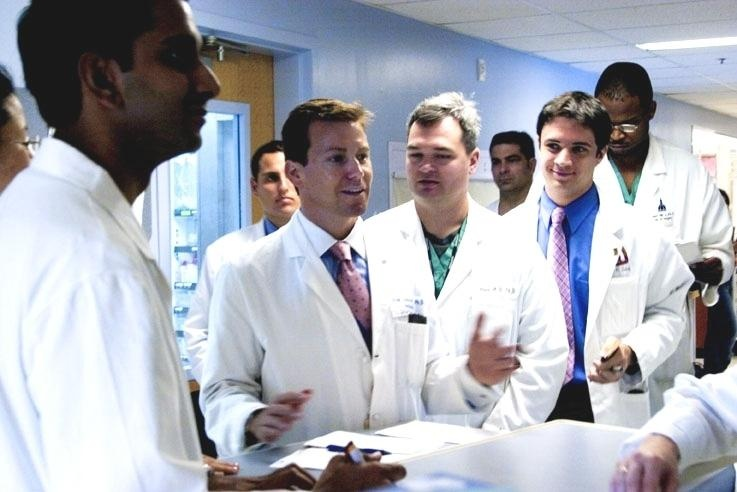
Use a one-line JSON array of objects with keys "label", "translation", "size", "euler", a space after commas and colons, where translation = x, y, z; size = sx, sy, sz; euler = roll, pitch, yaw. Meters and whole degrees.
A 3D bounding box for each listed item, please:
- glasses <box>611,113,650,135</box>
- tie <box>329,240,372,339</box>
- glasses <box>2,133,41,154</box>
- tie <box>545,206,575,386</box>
[{"label": "glasses", "translation": [1.234, -0.571, 3.316], "size": [0.233, 0.092, 0.065], "euler": [-1, 4, -21]}, {"label": "tie", "translation": [-0.063, 0.133, 2.350], "size": [0.108, 0.356, 0.019], "euler": [-11, -16, -20]}, {"label": "glasses", "translation": [-1.114, -0.328, 2.256], "size": [0.090, 0.054, 0.063], "euler": [-1, 3, -18]}, {"label": "tie", "translation": [0.790, 0.197, 2.877], "size": [0.100, 0.709, 0.192], "euler": [1, 4, 7]}]
